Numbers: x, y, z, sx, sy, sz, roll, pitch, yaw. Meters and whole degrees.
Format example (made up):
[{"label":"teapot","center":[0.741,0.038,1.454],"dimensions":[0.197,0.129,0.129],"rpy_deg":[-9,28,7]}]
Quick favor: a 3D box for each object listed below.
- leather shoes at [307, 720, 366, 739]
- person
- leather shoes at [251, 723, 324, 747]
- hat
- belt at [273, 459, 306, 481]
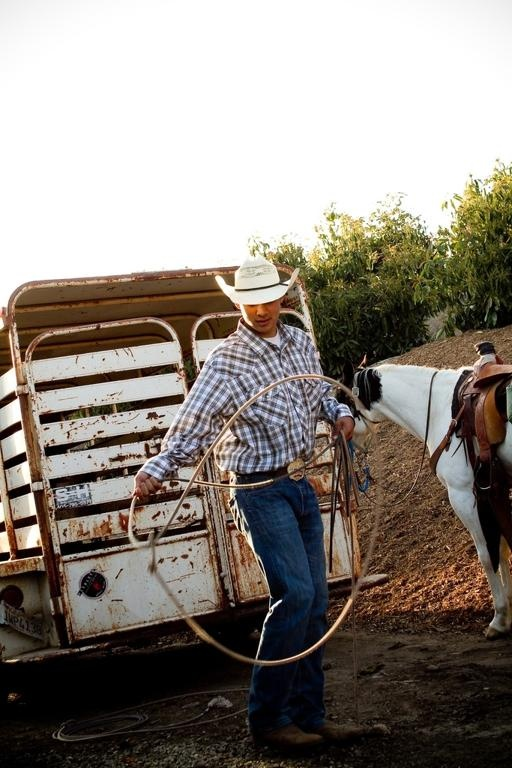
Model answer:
[{"label":"leather shoes","center":[0.325,1.359,2.880],"dimensions":[0.243,0.086,0.078],"rpy_deg":[-5,4,6]},{"label":"person","center":[0.042,0.427,2.884],"dimensions":[0.969,1.982,0.573],"rpy_deg":[-5,-13,-23]},{"label":"leather shoes","center":[0.121,1.338,2.805],"dimensions":[0.261,0.090,0.092],"rpy_deg":[-9,-6,22]},{"label":"hat","center":[0.025,-0.425,3.061],"dimensions":[0.257,0.115,0.277],"rpy_deg":[-6,22,8]},{"label":"belt","center":[0.140,0.349,2.896],"dimensions":[0.116,0.064,0.023],"rpy_deg":[-34,28,-22]}]
